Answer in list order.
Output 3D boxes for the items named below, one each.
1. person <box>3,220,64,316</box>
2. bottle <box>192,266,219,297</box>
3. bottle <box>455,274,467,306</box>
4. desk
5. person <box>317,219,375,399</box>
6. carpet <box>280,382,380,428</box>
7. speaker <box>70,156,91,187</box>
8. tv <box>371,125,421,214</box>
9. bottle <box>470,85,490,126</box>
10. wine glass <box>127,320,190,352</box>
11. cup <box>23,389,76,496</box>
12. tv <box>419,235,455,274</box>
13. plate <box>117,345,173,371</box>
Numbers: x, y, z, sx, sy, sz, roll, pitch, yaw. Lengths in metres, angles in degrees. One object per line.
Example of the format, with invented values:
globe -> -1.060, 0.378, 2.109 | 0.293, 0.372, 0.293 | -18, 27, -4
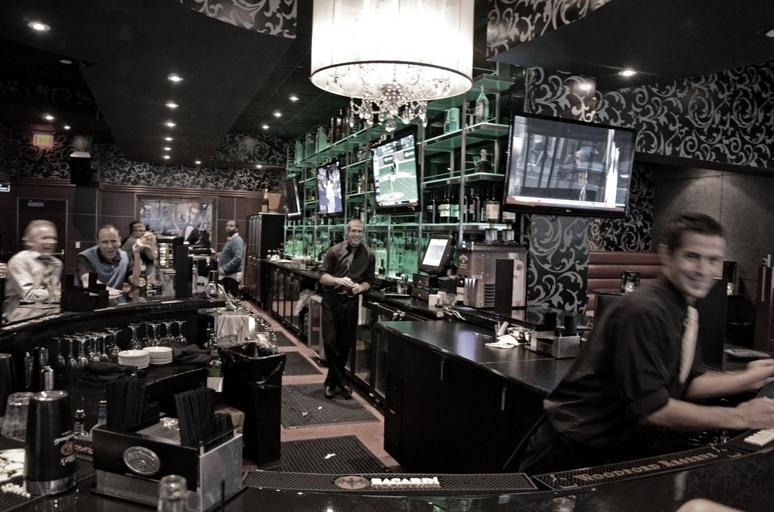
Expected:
person -> -3.000, 0.102, 4.587 | 0.411, 0.784, 0.882 | -1, 3, -30
bottle -> -1.980, 0.283, 5.932 | 0.359, 0.316, 0.227 | 0, 5, -8
bottle -> 0.759, 0.340, 5.559 | 0.065, 0.299, 0.171 | 0, 3, -15
desk -> 0.709, 1.115, 4.410 | 1.196, 1.313, 1.999 | 3, 0, -15
person -> -0.545, 0.607, 6.590 | 0.558, 2.082, 0.584 | 3, 4, 28
carpet -> -0.704, 1.673, 6.256 | 1.013, 0.079, 1.228 | 0, 3, -12
speaker -> -6.588, -1.809, 11.663 | 0.383, 0.570, 0.225 | 0, 3, -17
tv -> 0.128, -1.062, 6.815 | 0.124, 1.193, 1.333 | 1, -2, -30
bottle -> 1.000, -1.570, 5.771 | 0.161, 0.384, 0.339 | 2, 3, 8
wine glass -> -2.032, 0.695, 4.840 | 0.337, 0.151, 0.414 | 0, -5, -2
cup -> -1.568, 0.857, 2.520 | 0.194, 0.443, 0.162 | -1, 4, -34
tv -> 0.563, -0.006, 6.036 | 0.168, 0.426, 0.442 | 19, -6, -24
plate -> -1.931, 0.798, 4.286 | 0.245, 0.129, 0.469 | 2, 3, 27
